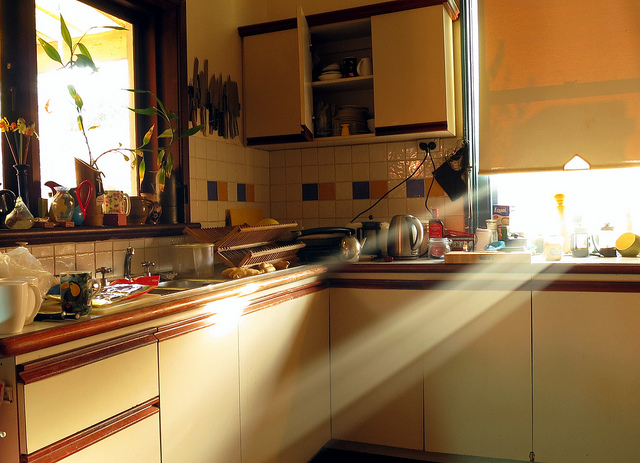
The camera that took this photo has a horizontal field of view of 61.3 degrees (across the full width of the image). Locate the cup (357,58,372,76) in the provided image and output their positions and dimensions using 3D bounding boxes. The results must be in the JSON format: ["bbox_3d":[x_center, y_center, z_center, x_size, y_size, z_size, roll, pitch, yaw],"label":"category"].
[{"bbox_3d":[0.268,-0.974,3.206,0.109,0.116,0.065,-2,5,-21],"label":"cup"}]

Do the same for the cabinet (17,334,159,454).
[{"bbox_3d":[-0.754,0.474,1.711,0.179,0.252,0.364,10,13,30],"label":"cabinet"}]

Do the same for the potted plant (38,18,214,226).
[{"bbox_3d":[-0.970,-0.557,2.690,0.716,1.015,0.655,-4,5,-28],"label":"potted plant"}]

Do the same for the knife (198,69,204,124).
[{"bbox_3d":[-0.671,-0.769,3.051,0.019,0.240,0.030,3,4,32],"label":"knife"}]

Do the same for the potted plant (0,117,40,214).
[{"bbox_3d":[-1.259,-0.290,2.283,0.135,0.405,0.185,-4,4,-26],"label":"potted plant"}]

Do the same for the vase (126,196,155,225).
[{"bbox_3d":[-0.870,-0.106,2.615,0.123,0.123,0.095,4,-3,-29],"label":"vase"}]

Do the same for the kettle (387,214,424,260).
[{"bbox_3d":[0.481,0.025,3.054,0.190,0.264,0.240,1,-3,-32],"label":"kettle"}]

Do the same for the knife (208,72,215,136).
[{"bbox_3d":[-0.625,-0.748,3.113,0.042,0.284,0.021,1,0,-5],"label":"knife"}]

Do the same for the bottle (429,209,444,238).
[{"bbox_3d":[0.689,-0.053,3.199,0.079,0.149,0.258,-1,5,12],"label":"bottle"}]

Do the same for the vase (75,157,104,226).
[{"bbox_3d":[-1.030,-0.178,2.408,0.106,0.304,0.053,-4,4,-26],"label":"vase"}]

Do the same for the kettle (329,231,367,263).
[{"bbox_3d":[0.166,0.075,2.955,0.187,0.172,0.129,0,5,3],"label":"kettle"}]

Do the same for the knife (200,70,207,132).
[{"bbox_3d":[-0.664,-0.747,3.061,0.019,0.406,0.050,0,1,34],"label":"knife"}]

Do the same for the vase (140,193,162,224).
[{"bbox_3d":[-0.833,-0.113,2.715,0.130,0.136,0.104,2,0,7],"label":"vase"}]

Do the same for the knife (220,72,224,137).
[{"bbox_3d":[-0.583,-0.724,3.182,0.008,0.325,0.043,-1,4,18],"label":"knife"}]

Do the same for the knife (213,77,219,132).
[{"bbox_3d":[-0.609,-0.728,3.137,0.035,0.251,0.016,2,1,-43],"label":"knife"}]

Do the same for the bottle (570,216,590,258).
[{"bbox_3d":[1.378,0.023,2.849,0.094,0.203,0.169,-2,4,6],"label":"bottle"}]

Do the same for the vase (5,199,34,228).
[{"bbox_3d":[-1.198,-0.073,2.196,0.096,0.140,0.100,-1,2,-4],"label":"vase"}]

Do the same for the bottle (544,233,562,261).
[{"bbox_3d":[1.180,0.079,2.726,0.076,0.110,0.215,0,5,27],"label":"bottle"}]

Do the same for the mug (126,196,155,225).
[{"bbox_3d":[-0.901,-0.104,2.670,0.112,0.151,0.154,-3,-6,8],"label":"mug"}]

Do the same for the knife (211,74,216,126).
[{"bbox_3d":[-0.613,-0.785,3.128,0.011,0.234,0.029,2,7,41],"label":"knife"}]

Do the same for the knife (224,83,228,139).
[{"bbox_3d":[-0.562,-0.718,3.217,0.031,0.248,0.014,0,3,-43],"label":"knife"}]

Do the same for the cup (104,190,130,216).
[{"bbox_3d":[-0.953,-0.140,2.531,0.114,0.115,0.053,-4,4,-22],"label":"cup"}]

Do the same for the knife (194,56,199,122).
[{"bbox_3d":[-0.690,-0.816,3.009,0.020,0.251,0.026,0,-2,39],"label":"knife"}]

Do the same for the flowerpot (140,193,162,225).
[{"bbox_3d":[-0.821,-0.114,2.718,0.139,0.149,0.097,2,1,-11],"label":"flowerpot"}]

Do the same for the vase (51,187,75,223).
[{"bbox_3d":[-1.113,-0.118,2.335,0.089,0.152,0.081,-5,5,-37],"label":"vase"}]

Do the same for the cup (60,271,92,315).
[{"bbox_3d":[-0.777,0.197,1.764,0.134,0.144,0.089,2,7,16],"label":"cup"}]

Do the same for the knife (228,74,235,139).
[{"bbox_3d":[-0.536,-0.748,3.257,0.013,0.350,0.058,-1,4,22],"label":"knife"}]

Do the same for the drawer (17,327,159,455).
[{"bbox_3d":[-0.752,0.431,1.729,0.250,0.224,0.408,-3,0,31],"label":"drawer"}]

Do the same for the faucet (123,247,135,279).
[{"bbox_3d":[-0.882,0.139,2.486,0.056,0.138,0.152,-3,4,-19],"label":"faucet"}]
